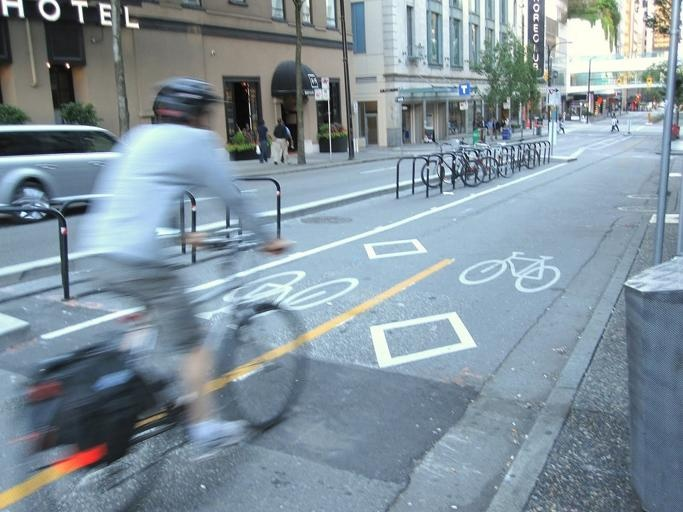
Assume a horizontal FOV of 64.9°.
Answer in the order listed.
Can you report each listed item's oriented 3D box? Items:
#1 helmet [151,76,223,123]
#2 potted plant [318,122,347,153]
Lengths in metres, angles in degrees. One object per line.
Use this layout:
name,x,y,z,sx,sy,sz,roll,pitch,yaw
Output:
helmet,-1.053,-1.064,3.692,0.281,0.405,0.374,15,2,42
potted plant,-0.798,-8.266,35.663,2.080,2.704,2.353,2,6,14
